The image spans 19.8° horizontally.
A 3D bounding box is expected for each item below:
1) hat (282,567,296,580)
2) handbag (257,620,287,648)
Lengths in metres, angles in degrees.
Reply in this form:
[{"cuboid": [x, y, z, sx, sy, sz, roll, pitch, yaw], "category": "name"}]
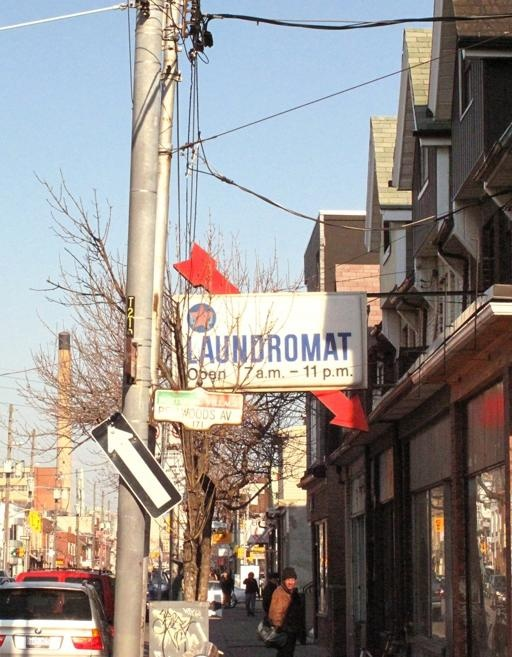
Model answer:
[{"cuboid": [0.485, 3.394, 20.295, 0.143, 0.216, 0.232, 2, -3, -2], "category": "hat"}, {"cuboid": [0.216, 4.178, 19.914, 0.338, 0.404, 0.267, -8, 16, -39], "category": "handbag"}]
